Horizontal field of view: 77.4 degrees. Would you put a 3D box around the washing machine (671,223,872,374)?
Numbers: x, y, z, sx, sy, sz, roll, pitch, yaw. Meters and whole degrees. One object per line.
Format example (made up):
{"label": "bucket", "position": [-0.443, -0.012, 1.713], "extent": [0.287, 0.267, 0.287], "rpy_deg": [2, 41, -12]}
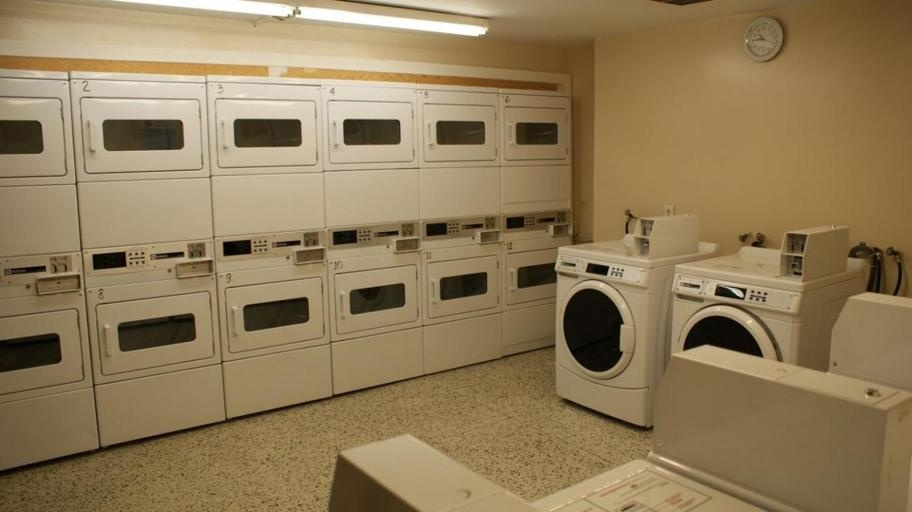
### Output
{"label": "washing machine", "position": [2.715, 0.333, 5.057], "extent": [1.454, 1.175, 0.957], "rpy_deg": [4, 13, 26]}
